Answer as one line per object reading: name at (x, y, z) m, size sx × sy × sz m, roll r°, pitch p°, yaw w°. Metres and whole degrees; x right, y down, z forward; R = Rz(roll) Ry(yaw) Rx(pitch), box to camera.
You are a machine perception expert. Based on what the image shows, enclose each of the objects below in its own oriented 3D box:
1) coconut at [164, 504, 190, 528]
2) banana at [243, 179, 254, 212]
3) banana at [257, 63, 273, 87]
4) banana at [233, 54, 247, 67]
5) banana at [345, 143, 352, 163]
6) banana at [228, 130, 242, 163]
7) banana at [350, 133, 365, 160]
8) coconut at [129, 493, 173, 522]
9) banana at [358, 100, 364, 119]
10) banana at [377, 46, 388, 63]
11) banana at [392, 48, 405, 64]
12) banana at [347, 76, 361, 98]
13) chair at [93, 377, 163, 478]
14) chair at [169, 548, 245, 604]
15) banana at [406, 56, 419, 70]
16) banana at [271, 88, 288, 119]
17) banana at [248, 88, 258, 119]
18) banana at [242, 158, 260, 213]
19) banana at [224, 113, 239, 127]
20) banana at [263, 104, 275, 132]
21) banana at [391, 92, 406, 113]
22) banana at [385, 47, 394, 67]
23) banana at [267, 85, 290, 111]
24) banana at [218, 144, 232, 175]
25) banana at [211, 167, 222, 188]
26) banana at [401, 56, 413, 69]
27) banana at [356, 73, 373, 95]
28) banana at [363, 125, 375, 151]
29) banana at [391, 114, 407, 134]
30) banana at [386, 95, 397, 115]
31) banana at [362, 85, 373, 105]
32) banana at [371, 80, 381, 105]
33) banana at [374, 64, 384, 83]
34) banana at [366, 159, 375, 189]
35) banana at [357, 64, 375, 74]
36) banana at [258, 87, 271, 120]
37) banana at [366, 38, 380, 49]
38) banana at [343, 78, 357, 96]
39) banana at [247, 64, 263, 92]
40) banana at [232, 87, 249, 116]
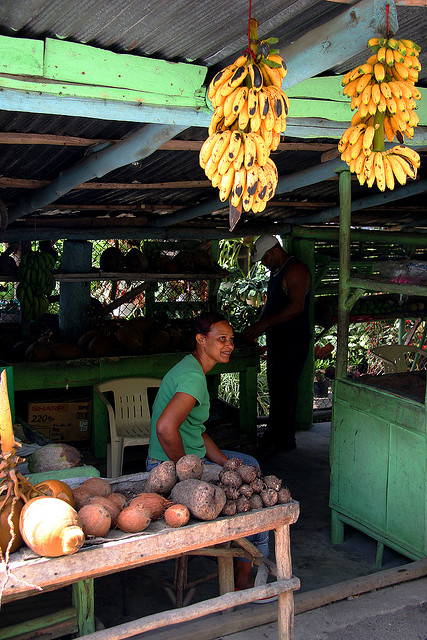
coconut at (-0.100, 0.573, 1.424) m, size 0.071 × 0.058 × 0.066 m, roll -1°, pitch 6°, yaw -22°
banana at (0.101, -0.364, 1.450) m, size 0.045 × 0.075 × 0.020 m, roll 8°, pitch -9°, yaw -33°
banana at (0.166, -0.765, 1.567) m, size 0.024 × 0.100 × 0.034 m, roll -19°, pitch 19°, yaw 13°
banana at (0.081, -0.801, 1.508) m, size 0.021 × 0.043 × 0.014 m, roll 44°, pitch -11°, yaw 15°
banana at (0.566, -0.697, 2.054) m, size 0.018 × 0.068 × 0.020 m, roll 13°, pitch -15°, yaw -12°
banana at (0.062, -0.517, 1.444) m, size 0.035 × 0.099 × 0.065 m, roll 2°, pitch 6°, yaw 10°
banana at (0.579, -0.706, 1.991) m, size 0.029 × 0.109 × 0.033 m, roll 14°, pitch -11°, yaw 26°
coconut at (-0.180, 0.562, 1.463) m, size 0.099 × 0.061 × 0.070 m, roll 15°, pitch -33°, yaw -2°
banana at (0.567, -0.812, 1.891) m, size 0.017 × 0.062 × 0.017 m, roll -1°, pitch -10°, yaw 27°
banana at (0.602, -0.952, 1.758) m, size 0.022 × 0.063 × 0.016 m, roll 0°, pitch -24°, yaw 41°
banana at (0.659, -0.951, 1.761) m, size 0.021 × 0.071 × 0.024 m, roll -14°, pitch -4°, yaw 24°
banana at (0.553, -0.926, 1.946) m, size 0.026 × 0.086 × 0.030 m, roll 26°, pitch -3°, yaw 43°
chair at (-0.764, 0.990, 4.269) m, size 0.570 × 0.896 × 0.576 m, roll 1°, pitch 6°, yaw -4°
chair at (-0.105, 1.192, 2.329) m, size 0.185 × 0.152 × 0.182 m, roll -33°, pitch -29°, yaw 19°
banana at (0.734, -0.949, 1.821) m, size 0.020 × 0.067 × 0.022 m, roll -24°, pitch 0°, yaw 33°
banana at (0.211, -0.697, 1.569) m, size 0.017 × 0.057 × 0.047 m, roll -7°, pitch 7°, yaw 28°
banana at (0.112, -0.632, 1.418) m, size 0.025 × 0.084 × 0.026 m, roll 8°, pitch -6°, yaw -11°
banana at (0.116, -0.403, 1.479) m, size 0.041 × 0.173 × 0.057 m, roll 4°, pitch -16°, yaw 9°
banana at (0.054, -0.609, 1.492) m, size 0.015 × 0.013 × 0.044 m, roll -24°, pitch -20°, yaw -52°
banana at (0.171, -0.615, 1.482) m, size 0.022 × 0.075 × 0.024 m, roll 1°, pitch -20°, yaw 3°
banana at (0.678, -0.803, 1.809) m, size 0.022 × 0.075 × 0.025 m, roll -31°, pitch -10°, yaw 29°
banana at (0.627, -0.943, 1.762) m, size 0.023 × 0.076 × 0.025 m, roll -16°, pitch -10°, yaw 9°
banana at (0.206, -0.742, 1.609) m, size 0.032 × 0.113 × 0.089 m, roll -29°, pitch -52°, yaw 8°
banana at (0.029, -0.484, 1.473) m, size 0.023 × 0.084 × 0.027 m, roll 26°, pitch 9°, yaw 40°
banana at (0.007, -0.456, 1.560) m, size 0.019 × 0.069 × 0.023 m, roll 11°, pitch -21°, yaw 9°
banana at (0.707, -0.949, 1.797) m, size 0.023 × 0.045 × 0.015 m, roll -14°, pitch 21°, yaw -3°
banana at (0.574, -0.903, 1.898) m, size 0.031 × 0.108 × 0.032 m, roll 25°, pitch -9°, yaw 14°
banana at (0.600, -0.711, 1.903) m, size 0.031 × 0.098 × 0.030 m, roll 10°, pitch -27°, yaw 13°
banana at (0.727, -0.768, 1.927) m, size 0.025 × 0.093 × 0.031 m, roll -14°, pitch 1°, yaw 21°
banana at (0.653, -0.791, 1.806) m, size 0.024 × 0.078 × 0.024 m, roll 19°, pitch -26°, yaw -36°
banana at (0.575, -0.854, 1.853) m, size 0.024 × 0.079 × 0.023 m, roll 14°, pitch -2°, yaw 2°
banana at (0.594, -0.835, 1.799) m, size 0.024 × 0.087 × 0.026 m, roll 21°, pitch -39°, yaw -27°
banana at (0.609, -0.920, 1.814) m, size 0.033 × 0.066 × 0.022 m, roll -19°, pitch -24°, yaw 32°
banana at (0.638, -0.602, 1.999) m, size 0.028 × 0.101 × 0.034 m, roll 5°, pitch 1°, yaw 9°
banana at (0.577, -0.959, 1.864) m, size 0.025 × 0.030 × 0.056 m, roll 0°, pitch 35°, yaw 26°
banana at (0.147, -0.639, 1.438) m, size 0.027 × 0.090 × 0.026 m, roll 8°, pitch -13°, yaw -31°
banana at (0.561, -0.986, 1.734) m, size 0.061 × 0.021 × 0.018 m, roll -45°, pitch -9°, yaw -35°
banana at (0.548, -0.943, 1.986) m, size 0.023 × 0.084 × 0.028 m, roll 21°, pitch -19°, yaw 26°
banana at (0.120, -0.718, 1.446) m, size 0.034 × 0.098 × 0.064 m, roll 0°, pitch 6°, yaw -9°
banana at (0.079, -0.650, 1.442) m, size 0.044 × 0.075 × 0.024 m, roll 2°, pitch 6°, yaw 8°
